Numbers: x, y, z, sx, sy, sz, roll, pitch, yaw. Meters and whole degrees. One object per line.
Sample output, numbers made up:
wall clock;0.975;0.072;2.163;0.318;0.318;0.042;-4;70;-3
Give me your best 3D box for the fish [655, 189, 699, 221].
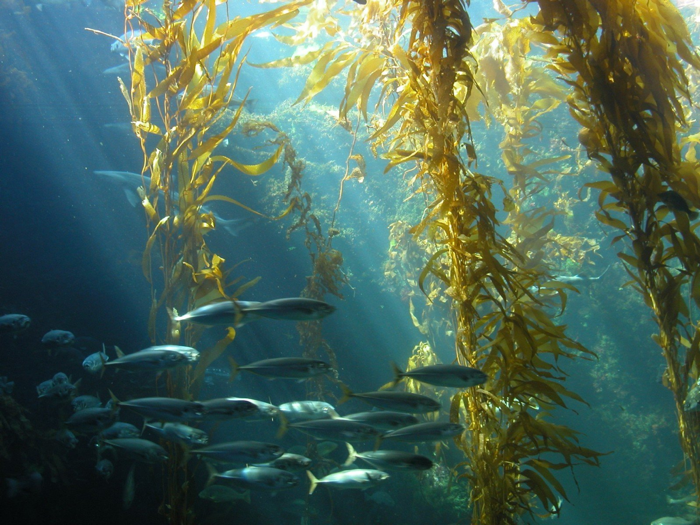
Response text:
fish;5.058;-0.921;11.245;0.122;0.616;0.283;-15;-42;-45
